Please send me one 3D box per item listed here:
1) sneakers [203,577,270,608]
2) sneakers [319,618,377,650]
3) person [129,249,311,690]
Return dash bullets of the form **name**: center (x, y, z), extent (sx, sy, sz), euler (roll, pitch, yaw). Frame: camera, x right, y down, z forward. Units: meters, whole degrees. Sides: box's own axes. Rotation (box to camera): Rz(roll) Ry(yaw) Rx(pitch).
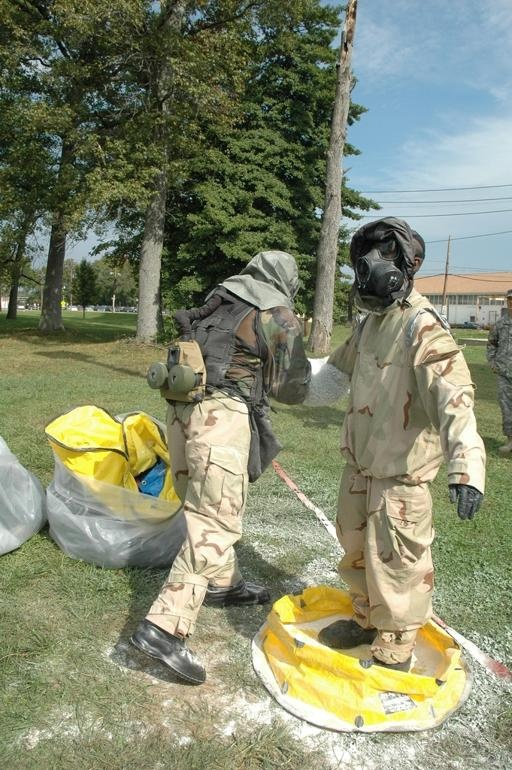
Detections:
- **sneakers**: center (-0.096, 1.091, 3.049), extent (0.390, 0.155, 0.127), euler (0, 5, -18)
- **sneakers**: center (0.409, 1.127, 2.599), extent (0.209, 0.078, 0.107), euler (4, 4, -3)
- **person**: center (-0.187, 0.265, 2.610), extent (0.638, 1.850, 1.147), euler (6, 8, 17)
